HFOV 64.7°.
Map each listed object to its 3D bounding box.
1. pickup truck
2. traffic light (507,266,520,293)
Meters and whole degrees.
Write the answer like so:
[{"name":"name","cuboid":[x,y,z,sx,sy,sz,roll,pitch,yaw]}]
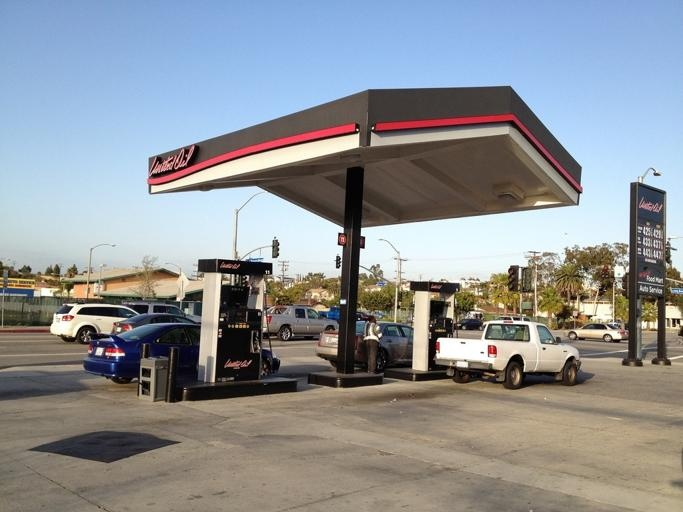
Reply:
[{"name":"pickup truck","cuboid":[5.455,3.057,17.699,4.170,1.637,2.269,1,-3,-37]},{"name":"traffic light","cuboid":[8.266,1.035,25.953,0.528,1.190,0.828,2,-4,18]}]
